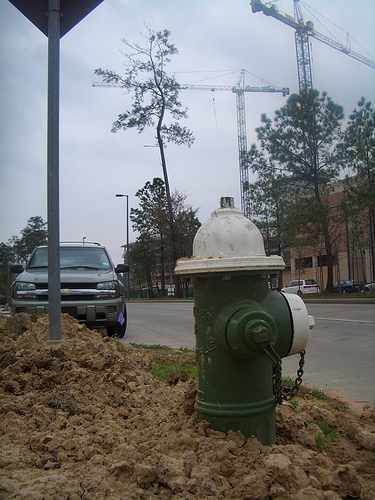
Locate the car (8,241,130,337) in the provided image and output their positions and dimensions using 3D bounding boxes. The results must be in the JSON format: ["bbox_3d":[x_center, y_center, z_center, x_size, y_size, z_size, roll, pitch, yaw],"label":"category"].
[{"bbox_3d":[-1.794,0.696,7.686,1.685,1.681,1.864,3,1,-7],"label":"car"}]

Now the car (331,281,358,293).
[{"bbox_3d":[10.343,2.413,32.327,1.772,0.832,1.027,2,0,35],"label":"car"}]

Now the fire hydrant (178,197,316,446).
[{"bbox_3d":[0.288,0.363,2.738,0.641,0.958,0.631,5,2,38],"label":"fire hydrant"}]
